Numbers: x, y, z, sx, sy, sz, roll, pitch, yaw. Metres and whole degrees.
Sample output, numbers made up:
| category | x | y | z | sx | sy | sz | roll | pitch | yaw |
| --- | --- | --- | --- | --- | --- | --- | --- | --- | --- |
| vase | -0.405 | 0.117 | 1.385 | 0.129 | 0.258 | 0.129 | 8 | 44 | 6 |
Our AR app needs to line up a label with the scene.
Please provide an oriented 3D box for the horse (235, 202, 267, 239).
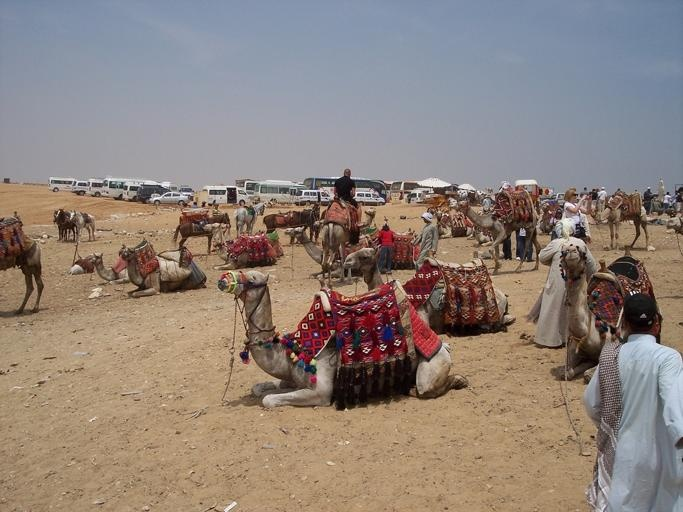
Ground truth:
| category | x | y | z | sx | sy | sz | roll | pitch | yaw |
| --- | --- | --- | --- | --- | --- | --- | --- | --- | --- |
| horse | -4.174 | -1.616 | 23.181 | 0.631 | 1.572 | 2.357 | 9 | 11 | 22 |

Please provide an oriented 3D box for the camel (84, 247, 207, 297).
| category | x | y | z | sx | sy | sz | roll | pitch | yaw |
| --- | --- | --- | --- | --- | --- | --- | --- | --- | --- |
| camel | -4.907 | 0.461 | 13.517 | 0.984 | 1.403 | 2.864 | -13 | -8 | 40 |

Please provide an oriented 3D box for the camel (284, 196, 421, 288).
| category | x | y | z | sx | sy | sz | roll | pitch | yaw |
| --- | --- | --- | --- | --- | --- | --- | --- | --- | --- |
| camel | 0.162 | -0.317 | 14.088 | 1.512 | 2.809 | 5.595 | -2 | -2 | 43 |

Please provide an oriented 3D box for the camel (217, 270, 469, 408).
| category | x | y | z | sx | sy | sz | roll | pitch | yaw |
| --- | --- | --- | --- | --- | --- | --- | --- | --- | --- |
| camel | -0.035 | 1.027 | 6.576 | 3.064 | 1.550 | 1.195 | 1 | 0 | -24 |

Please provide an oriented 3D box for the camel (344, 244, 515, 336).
| category | x | y | z | sx | sy | sz | roll | pitch | yaw |
| --- | --- | --- | --- | --- | --- | --- | --- | --- | --- |
| camel | 1.611 | 0.656 | 8.038 | 3.122 | 1.322 | 1.149 | 3 | -1 | -14 |

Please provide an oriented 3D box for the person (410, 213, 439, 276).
| category | x | y | z | sx | sy | sz | roll | pitch | yaw |
| --- | --- | --- | --- | --- | --- | --- | --- | --- | --- |
| person | 1.689 | -0.308 | 10.825 | 0.700 | 1.688 | 0.675 | 3 | 8 | 23 |

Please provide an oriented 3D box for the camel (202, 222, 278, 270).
| category | x | y | z | sx | sy | sz | roll | pitch | yaw |
| --- | --- | --- | --- | --- | --- | --- | --- | --- | --- |
| camel | -3.060 | -0.203 | 16.894 | 2.337 | 1.118 | 0.852 | -12 | 16 | -16 |
